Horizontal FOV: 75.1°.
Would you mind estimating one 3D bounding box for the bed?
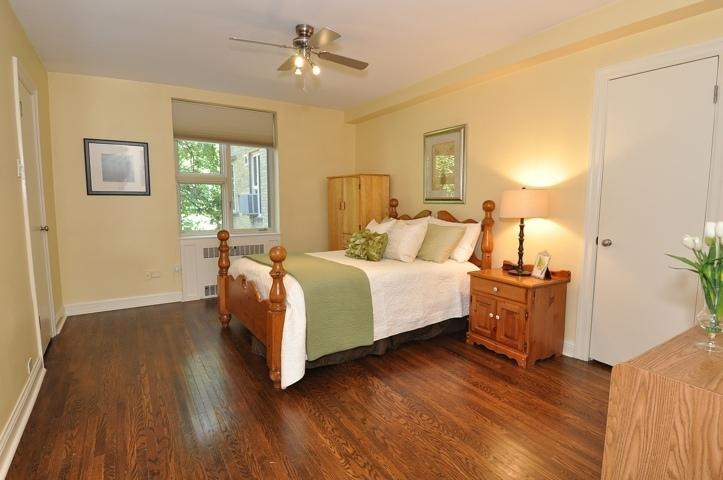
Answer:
[{"bbox_3d":[-0.033,0.600,5.497,2.538,1.573,1.996,-1,3,-30],"label":"bed"}]

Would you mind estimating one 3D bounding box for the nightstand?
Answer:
[{"bbox_3d":[1.648,0.686,5.281,0.854,1.247,1.183,0,2,-29],"label":"nightstand"}]

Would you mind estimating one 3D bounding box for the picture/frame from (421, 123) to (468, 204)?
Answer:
[{"bbox_3d":[1.076,-0.973,6.109,0.061,0.964,0.735,-7,11,-36],"label":"picture/frame"}]

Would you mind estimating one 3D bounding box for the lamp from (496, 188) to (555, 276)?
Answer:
[{"bbox_3d":[1.746,-0.098,5.043,0.469,0.917,0.504,2,9,20],"label":"lamp"}]

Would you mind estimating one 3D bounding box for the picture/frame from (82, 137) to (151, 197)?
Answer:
[{"bbox_3d":[-3.150,-0.946,6.106,0.769,0.802,0.047,-2,-23,-29],"label":"picture/frame"}]

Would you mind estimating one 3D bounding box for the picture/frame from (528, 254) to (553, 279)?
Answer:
[{"bbox_3d":[1.889,0.287,4.929,0.122,0.324,0.203,1,9,-25],"label":"picture/frame"}]
